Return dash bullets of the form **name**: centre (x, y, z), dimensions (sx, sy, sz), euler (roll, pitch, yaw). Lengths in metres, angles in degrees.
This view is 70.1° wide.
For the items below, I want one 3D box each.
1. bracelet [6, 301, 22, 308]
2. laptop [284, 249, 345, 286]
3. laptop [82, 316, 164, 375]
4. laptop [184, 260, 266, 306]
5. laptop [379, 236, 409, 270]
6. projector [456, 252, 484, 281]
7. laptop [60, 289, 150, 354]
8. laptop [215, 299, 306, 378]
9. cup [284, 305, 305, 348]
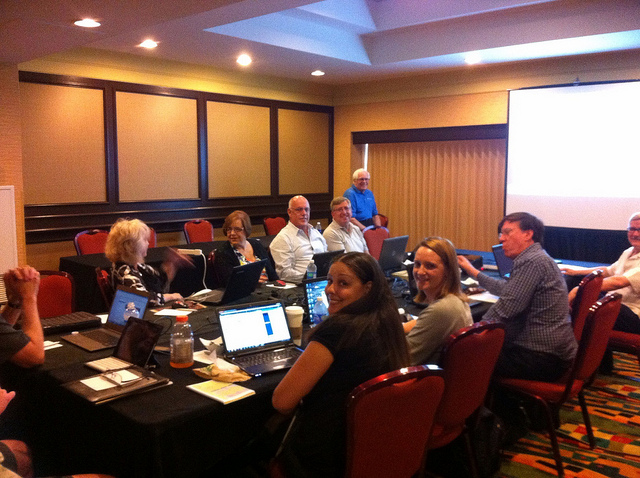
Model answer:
- **bracelet**: centre (-1.664, 0.355, 2.494), dimensions (0.060, 0.015, 0.057), euler (2, 1, -21)
- **laptop**: centre (-0.045, 0.239, 3.970), dimensions (0.388, 0.249, 0.439), euler (11, 13, 43)
- **laptop**: centre (-0.996, 0.543, 2.349), dimensions (0.304, 0.208, 0.294), euler (13, 7, 41)
- **laptop**: centre (-0.717, 0.347, 3.513), dimensions (0.430, 0.247, 0.406), euler (5, 10, 29)
- **laptop**: centre (0.757, 0.151, 4.664), dimensions (0.230, 0.210, 0.316), euler (16, 20, 38)
- **projector**: centre (1.331, 0.249, 4.058), dimensions (0.270, 0.120, 0.266), euler (-10, 12, -43)
- **laptop**: centre (-1.234, 0.493, 2.738), dimensions (0.399, 0.268, 0.423), euler (11, 3, 39)
- **laptop**: centre (-0.316, 0.542, 2.515), dimensions (0.417, 0.333, 0.247), euler (-1, -11, -34)
- **cup**: centre (-0.148, 0.529, 2.837), dimensions (0.186, 0.223, 0.178), euler (-1, 0, 0)
